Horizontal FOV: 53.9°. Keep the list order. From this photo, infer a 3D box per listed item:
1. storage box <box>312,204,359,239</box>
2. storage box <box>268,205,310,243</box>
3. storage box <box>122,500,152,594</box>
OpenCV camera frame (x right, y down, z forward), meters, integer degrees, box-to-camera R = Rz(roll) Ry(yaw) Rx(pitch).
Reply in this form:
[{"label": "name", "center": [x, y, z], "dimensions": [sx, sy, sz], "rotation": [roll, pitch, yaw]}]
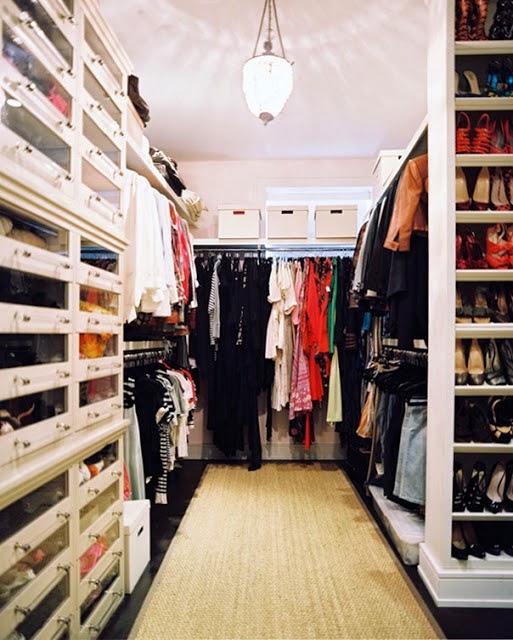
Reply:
[{"label": "storage box", "center": [0.577, -0.704, 3.626], "dimensions": [0.195, 0.228, 0.239], "rotation": [0, 4, 6]}, {"label": "storage box", "center": [0.225, -0.699, 3.676], "dimensions": [0.305, 0.253, 0.071], "rotation": [0, 0, -3]}, {"label": "storage box", "center": [-0.488, 0.908, 2.023], "dimensions": [0.080, 0.161, 0.165], "rotation": [-12, -19, -31]}]
